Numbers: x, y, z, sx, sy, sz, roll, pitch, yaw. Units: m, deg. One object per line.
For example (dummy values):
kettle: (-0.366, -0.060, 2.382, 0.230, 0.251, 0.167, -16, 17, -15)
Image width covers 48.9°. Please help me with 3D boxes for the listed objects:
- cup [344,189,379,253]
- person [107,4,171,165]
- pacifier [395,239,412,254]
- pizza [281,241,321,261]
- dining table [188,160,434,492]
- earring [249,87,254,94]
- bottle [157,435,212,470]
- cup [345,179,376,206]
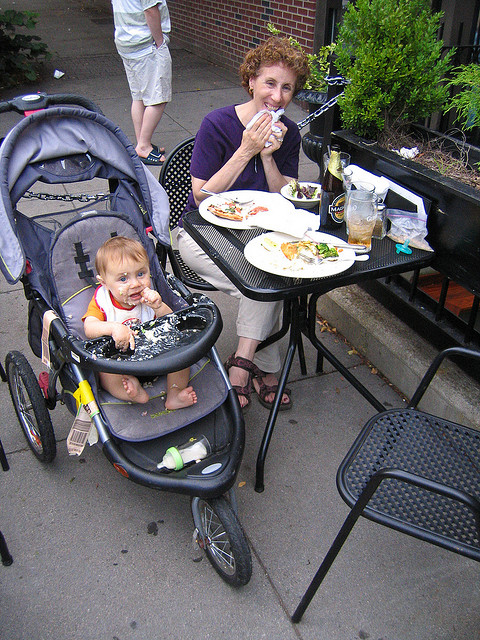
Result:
cup: (0.435, -0.356, 1.919, 0.110, 0.209, 0.167, -4, 27, -11)
person: (-0.783, -1.991, 4.542, 0.439, 1.264, 0.392, -3, 32, 1)
pacifier: (0.589, -0.265, 1.897, 0.048, 0.047, 0.048, -12, 19, -43)
pizza: (0.192, -0.252, 1.803, 0.073, 0.025, 0.122, 28, 29, 14)
dining table: (0.234, -0.011, 2.055, 0.532, 0.704, 0.567, -8, 43, -4)
earring: (0.054, -1.044, 2.402, 0.005, 0.025, 0.025, -14, 63, -16)
bottle: (-0.179, 0.412, 1.759, 0.149, 0.070, 0.232, -3, 27, -10)
cup: (0.453, -0.500, 1.998, 0.097, 0.074, 0.077, 20, 63, 16)
